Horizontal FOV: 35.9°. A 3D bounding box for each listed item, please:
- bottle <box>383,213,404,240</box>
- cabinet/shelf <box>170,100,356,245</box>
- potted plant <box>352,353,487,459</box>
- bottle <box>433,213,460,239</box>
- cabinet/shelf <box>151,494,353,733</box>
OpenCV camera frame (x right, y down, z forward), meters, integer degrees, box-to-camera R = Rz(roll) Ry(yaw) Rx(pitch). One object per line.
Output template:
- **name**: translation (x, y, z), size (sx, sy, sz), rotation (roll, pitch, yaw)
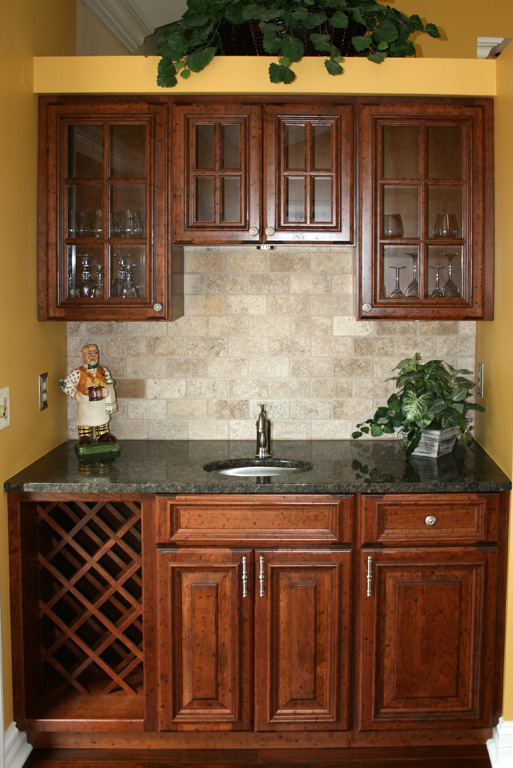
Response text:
- **bottle**: translation (0.449, -0.519, 2.590), size (0.078, 0.072, 0.077), rotation (3, 10, 28)
- **cabinet/shelf**: translation (0.005, -0.705, 2.555), size (0.472, 0.337, 0.182), rotation (0, 3, 1)
- **potted plant**: translation (0.568, 0.076, 2.685), size (0.352, 0.351, 0.238), rotation (-1, 6, -2)
- **bottle**: translation (0.622, -0.518, 2.591), size (0.079, 0.077, 0.083), rotation (2, 8, 21)
- **cabinet/shelf**: translation (-0.017, 0.710, 2.513), size (0.585, 0.709, 0.365), rotation (0, -3, -4)
